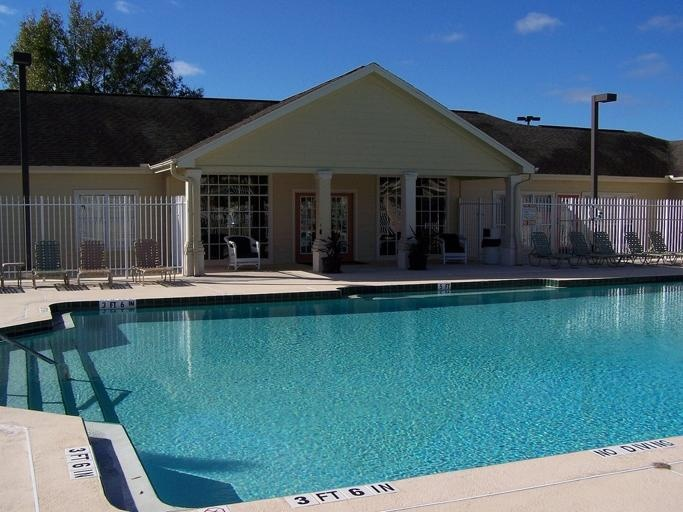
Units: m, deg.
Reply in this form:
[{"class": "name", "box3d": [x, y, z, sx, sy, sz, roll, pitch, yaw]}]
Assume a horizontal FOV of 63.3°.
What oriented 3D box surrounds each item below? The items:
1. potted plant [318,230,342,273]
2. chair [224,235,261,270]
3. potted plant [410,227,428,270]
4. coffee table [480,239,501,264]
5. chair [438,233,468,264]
[{"class": "potted plant", "box3d": [-0.319, -0.102, 15.801, 0.597, 1.137, 0.325, 1, 7, 1]}, {"class": "chair", "box3d": [-2.973, -0.100, 17.142, 1.196, 0.927, 1.158, 0, 0, -25]}, {"class": "potted plant", "box3d": [2.447, -0.256, 16.921, 0.901, 1.369, 0.812, 2, -8, 5]}, {"class": "coffee table", "box3d": [5.011, -0.133, 18.831, 0.792, 0.736, 0.788, 1, -4, 1]}, {"class": "chair", "box3d": [3.686, -0.320, 18.459, 1.058, 1.194, 1.051, 1, -7, -5]}]
